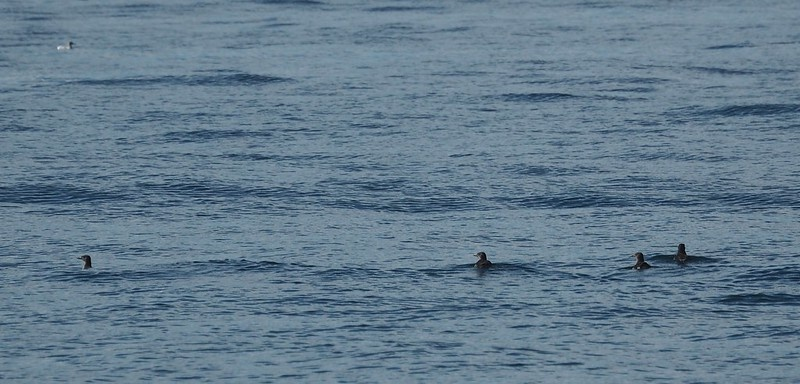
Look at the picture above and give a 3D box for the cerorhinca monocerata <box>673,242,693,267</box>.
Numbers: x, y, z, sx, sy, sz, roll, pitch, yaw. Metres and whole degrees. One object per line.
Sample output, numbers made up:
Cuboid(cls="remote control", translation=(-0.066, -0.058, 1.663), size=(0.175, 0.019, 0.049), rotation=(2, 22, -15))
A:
Cuboid(cls="cerorhinca monocerata", translation=(12.844, 2.801, 54.336), size=(1.320, 0.405, 0.787), rotation=(0, 94, 0))
